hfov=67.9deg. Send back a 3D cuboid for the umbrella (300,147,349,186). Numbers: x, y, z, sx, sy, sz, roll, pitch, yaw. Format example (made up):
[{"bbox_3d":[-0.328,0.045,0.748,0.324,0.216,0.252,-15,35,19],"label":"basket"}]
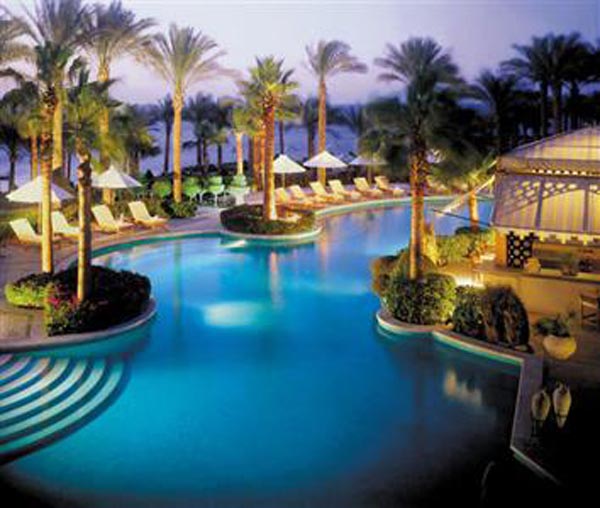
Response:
[{"bbox_3d":[1.831,-7.228,35.015,2.499,2.522,2.731,0,6,0],"label":"umbrella"}]

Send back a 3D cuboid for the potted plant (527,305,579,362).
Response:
[{"bbox_3d":[5.188,1.598,9.149,0.764,1.077,0.850,-9,3,-40],"label":"potted plant"}]

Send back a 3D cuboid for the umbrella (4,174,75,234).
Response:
[{"bbox_3d":[-10.513,-2.159,17.841,2.516,2.590,2.517,-1,4,-21],"label":"umbrella"}]

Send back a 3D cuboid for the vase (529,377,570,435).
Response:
[{"bbox_3d":[3.782,2.322,6.741,0.561,0.870,0.301,-2,0,-2],"label":"vase"}]
